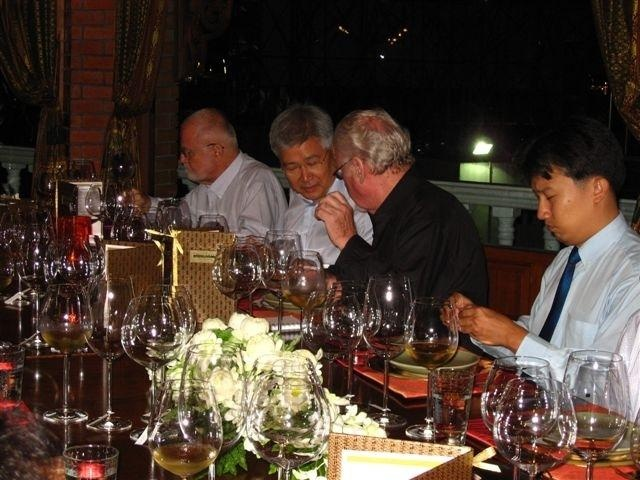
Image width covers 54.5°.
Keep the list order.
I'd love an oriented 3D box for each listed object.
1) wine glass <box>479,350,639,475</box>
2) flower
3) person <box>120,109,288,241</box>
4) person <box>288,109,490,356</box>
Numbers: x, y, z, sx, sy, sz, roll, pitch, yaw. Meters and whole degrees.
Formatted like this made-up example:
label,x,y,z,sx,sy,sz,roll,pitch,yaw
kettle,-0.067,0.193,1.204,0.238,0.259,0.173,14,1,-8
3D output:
label,x,y,z,sx,sy,sz,roll,pitch,yaw
wine glass,0.439,0.337,1.168,0.253,0.220,0.237,-1,-3,28
flower,-0.079,0.259,1.213,0.318,0.353,0.199,11,-46,-8
person,-0.703,-0.417,3.991,0.768,1.271,0.870,-10,16,-29
person,0.439,-0.194,2.990,0.722,1.529,0.735,1,12,18
